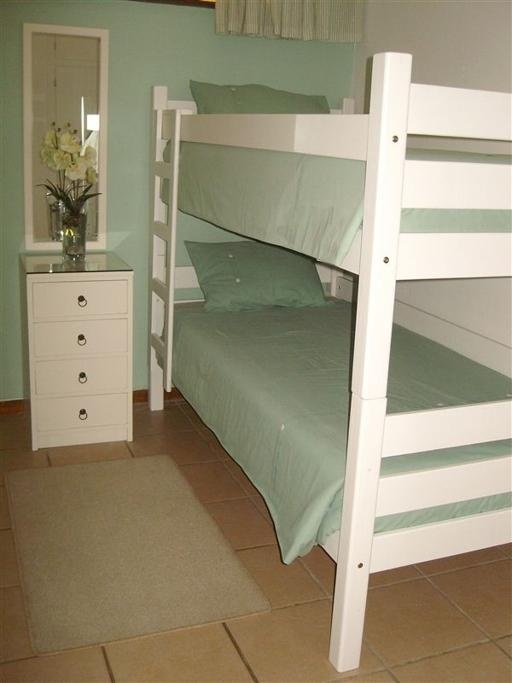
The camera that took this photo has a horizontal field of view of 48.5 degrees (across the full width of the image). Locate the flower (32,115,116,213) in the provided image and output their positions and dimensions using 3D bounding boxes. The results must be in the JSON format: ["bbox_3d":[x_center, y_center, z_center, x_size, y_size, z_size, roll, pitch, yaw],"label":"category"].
[{"bbox_3d":[-0.893,-0.810,2.709,0.217,0.418,0.254,5,21,8],"label":"flower"}]

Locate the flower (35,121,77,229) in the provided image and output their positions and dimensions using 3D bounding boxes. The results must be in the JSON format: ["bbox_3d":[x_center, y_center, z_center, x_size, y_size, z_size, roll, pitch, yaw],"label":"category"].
[{"bbox_3d":[-0.941,-0.845,2.723,0.191,0.421,0.282,-2,12,-21],"label":"flower"}]
